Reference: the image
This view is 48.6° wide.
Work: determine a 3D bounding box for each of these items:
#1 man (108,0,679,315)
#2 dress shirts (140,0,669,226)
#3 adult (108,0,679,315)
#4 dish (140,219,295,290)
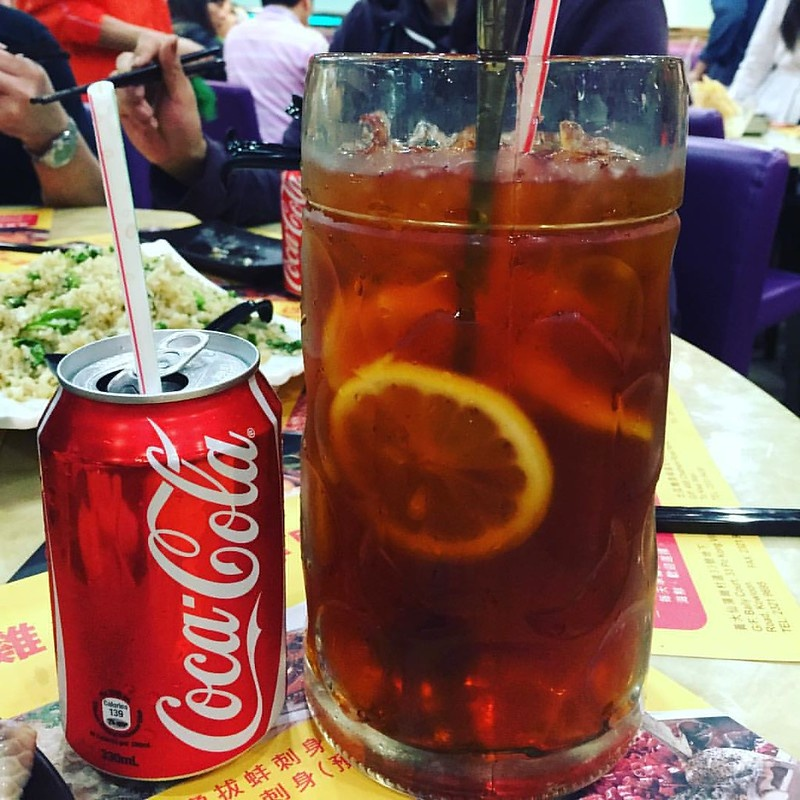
[{"bbox_3d":[-0.054,-0.686,2.422,1.264,0.421,0.986,-7,20,-28],"label":"man"},{"bbox_3d":[0.087,-0.656,2.045,1.152,0.360,0.981,-9,14,-36],"label":"dress shirts"},{"bbox_3d":[-0.054,-0.559,2.474,1.264,0.421,0.986,-7,20,-28],"label":"adult"},{"bbox_3d":[-0.312,-0.263,1.573,0.159,0.032,0.240,-23,38,-37],"label":"dish"}]
